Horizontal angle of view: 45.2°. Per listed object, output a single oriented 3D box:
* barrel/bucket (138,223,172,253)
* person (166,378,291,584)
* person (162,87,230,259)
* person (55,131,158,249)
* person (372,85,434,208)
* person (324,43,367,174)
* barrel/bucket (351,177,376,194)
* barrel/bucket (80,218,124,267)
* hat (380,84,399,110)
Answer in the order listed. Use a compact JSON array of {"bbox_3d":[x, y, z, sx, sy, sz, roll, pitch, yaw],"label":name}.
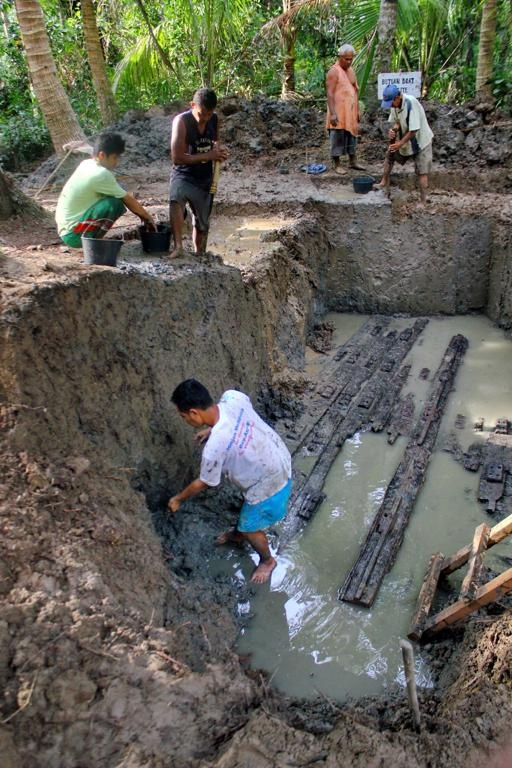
[{"bbox_3d":[-0.780,-1.116,4.857,0.236,0.166,0.243,-1,34,0],"label":"barrel/bucket"},{"bbox_3d":[-0.090,0.635,3.743,0.741,1.580,0.312,-22,30,-32],"label":"person"},{"bbox_3d":[-0.476,-1.639,4.934,0.510,1.287,0.730,-6,25,-1],"label":"person"},{"bbox_3d":[-1.059,-1.348,4.350,0.710,0.762,0.616,15,29,14],"label":"person"},{"bbox_3d":[1.780,-2.879,7.401,0.668,1.344,1.156,0,26,10],"label":"person"},{"bbox_3d":[1.177,-3.559,8.073,0.493,1.529,1.110,-1,26,10],"label":"person"},{"bbox_3d":[1.347,-2.503,7.775,0.241,0.199,0.304,-1,25,8],"label":"barrel/bucket"},{"bbox_3d":[-1.040,-0.929,4.109,0.248,0.258,0.564,-11,26,-13],"label":"barrel/bucket"},{"bbox_3d":[1.493,-3.173,6.801,0.182,0.215,0.273,1,26,13],"label":"hat"}]
